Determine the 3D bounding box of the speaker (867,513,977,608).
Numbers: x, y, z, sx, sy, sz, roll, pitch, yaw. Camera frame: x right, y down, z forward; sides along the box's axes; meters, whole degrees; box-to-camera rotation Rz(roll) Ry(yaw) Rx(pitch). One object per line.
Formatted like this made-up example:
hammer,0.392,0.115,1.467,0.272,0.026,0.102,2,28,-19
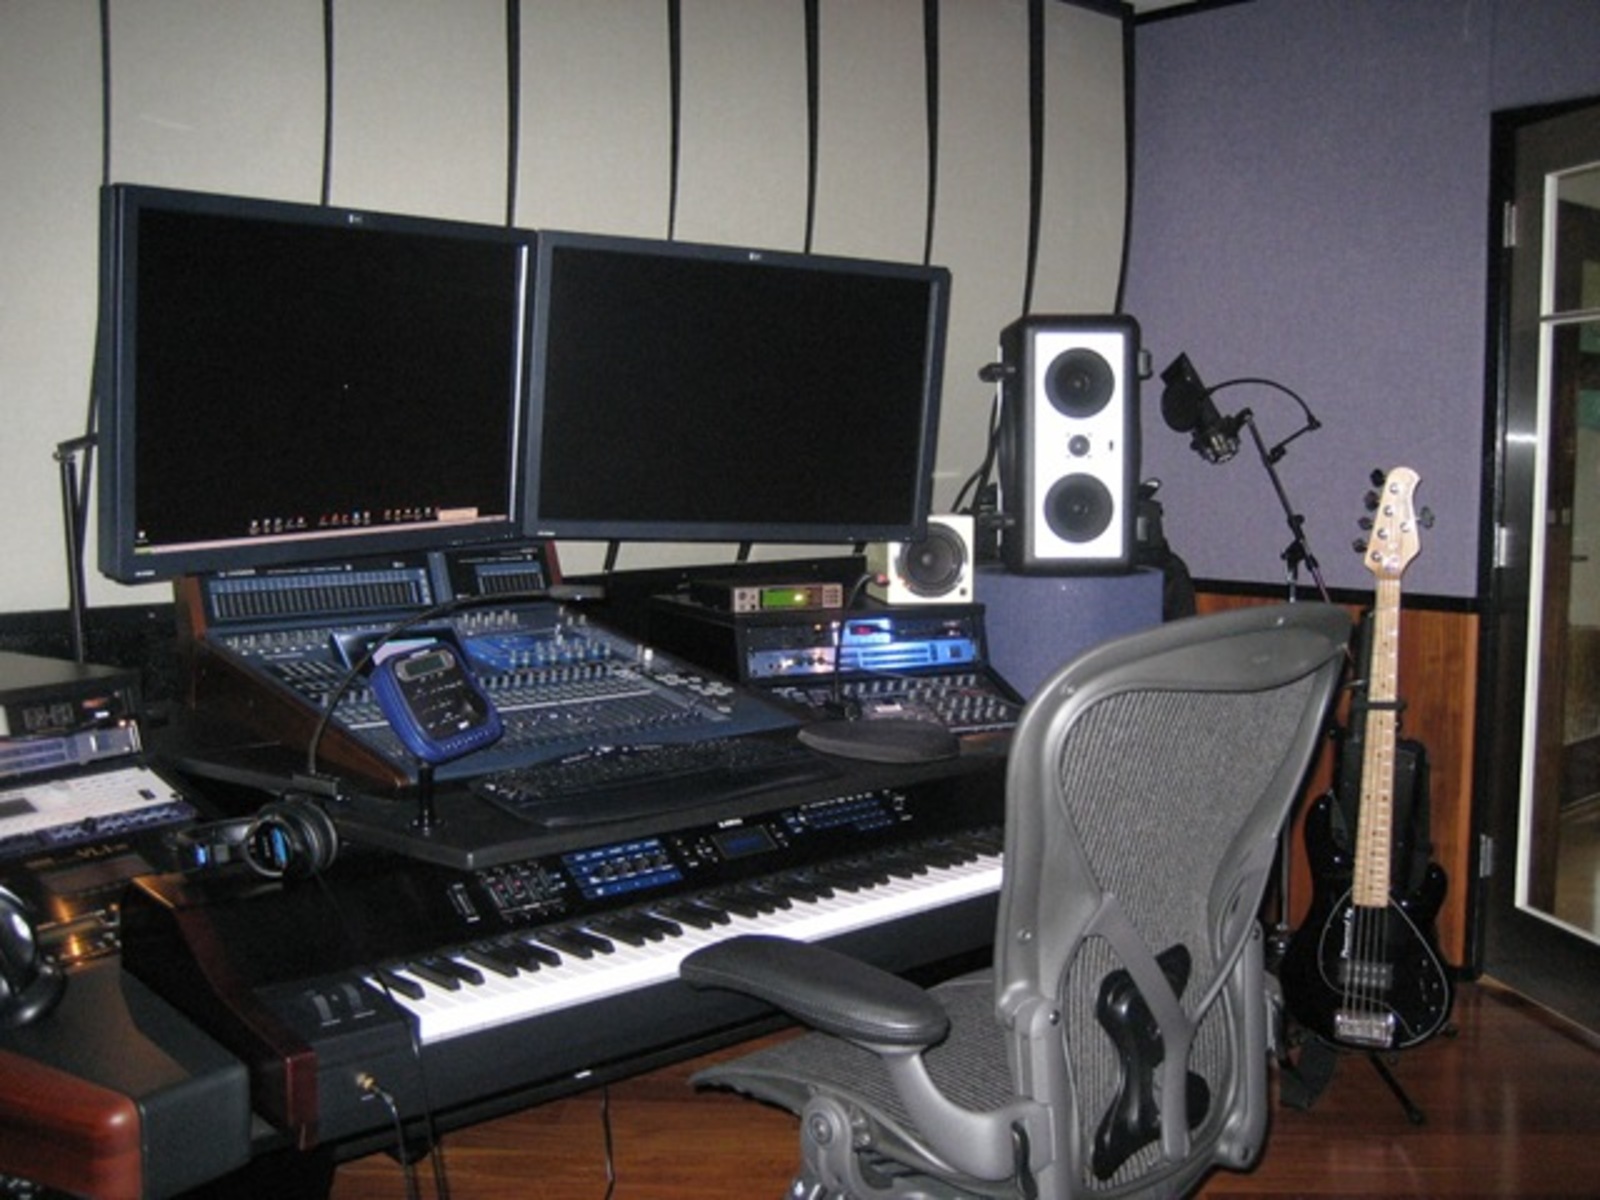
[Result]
speaker,0.278,-0.091,3.031,0.209,0.216,0.212,-1,-1,-25

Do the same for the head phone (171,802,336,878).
head phone,-0.744,0.331,1.761,0.149,0.080,0.120,-6,-5,7

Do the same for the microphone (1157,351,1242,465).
microphone,1.115,-0.526,3.508,0.215,0.288,0.134,5,11,25

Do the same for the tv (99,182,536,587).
tv,-0.864,-0.372,2.270,0.750,0.625,0.075,-5,15,-39
